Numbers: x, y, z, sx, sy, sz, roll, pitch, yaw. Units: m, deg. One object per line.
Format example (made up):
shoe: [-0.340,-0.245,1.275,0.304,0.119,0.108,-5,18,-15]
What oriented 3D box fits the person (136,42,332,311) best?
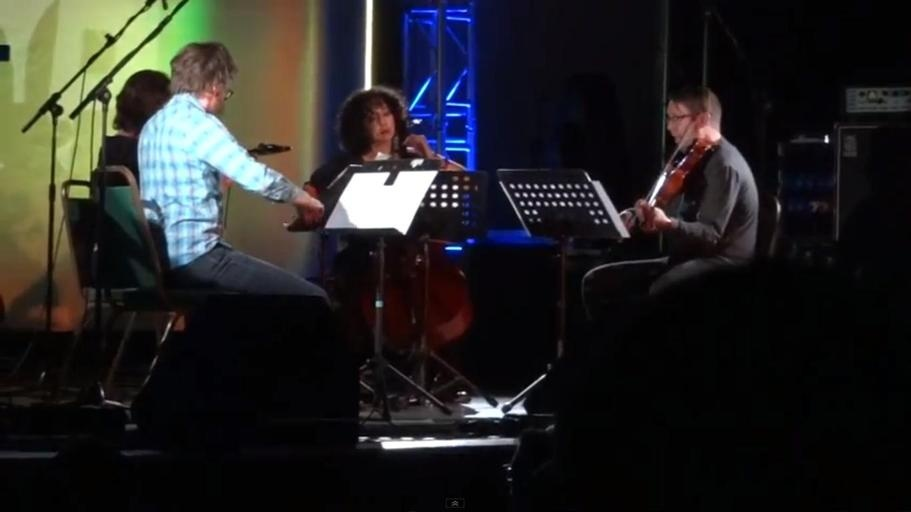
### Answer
person: [-1.443,-0.554,5.436,1.031,1.518,0.450,3,6,27]

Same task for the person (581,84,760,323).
person: [1.620,-0.414,6.576,1.141,1.590,1.397,1,5,9]

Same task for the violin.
violin: [1.519,-0.542,6.266,0.167,0.682,0.363,44,-1,-28]

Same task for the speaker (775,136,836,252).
speaker: [2.941,-0.546,7.482,0.441,0.956,0.346,2,5,18]

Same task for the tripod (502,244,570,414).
tripod: [0.546,0.474,6.092,0.430,1.186,1.440,1,5,8]
